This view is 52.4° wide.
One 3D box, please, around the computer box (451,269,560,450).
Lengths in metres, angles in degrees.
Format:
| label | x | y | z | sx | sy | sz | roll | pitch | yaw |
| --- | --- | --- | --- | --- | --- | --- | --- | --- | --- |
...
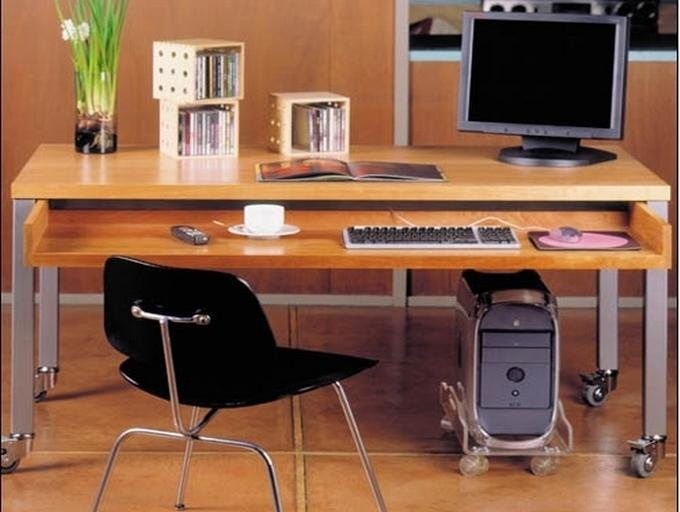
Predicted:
| label | x | y | z | sx | sy | sz | roll | pitch | yaw |
| --- | --- | --- | --- | --- | --- | --- | --- | --- | --- |
| computer box | 0.575 | 0.360 | 2.519 | 0.394 | 0.571 | 0.415 | 0 | 18 | 5 |

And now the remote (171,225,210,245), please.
| label | x | y | z | sx | sy | sz | roll | pitch | yaw |
| --- | --- | --- | --- | --- | --- | --- | --- | --- | --- |
| remote | -0.503 | -0.084 | 2.312 | 0.061 | 0.033 | 0.141 | -11 | 22 | -33 |

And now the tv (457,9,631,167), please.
| label | x | y | z | sx | sy | sz | roll | pitch | yaw |
| --- | --- | --- | --- | --- | --- | --- | --- | --- | --- |
| tv | 0.820 | -0.683 | 2.727 | 0.661 | 0.547 | 0.408 | 12 | 30 | 32 |

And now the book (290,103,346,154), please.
| label | x | y | z | sx | sy | sz | roll | pitch | yaw |
| --- | --- | --- | --- | --- | --- | --- | --- | --- | --- |
| book | -0.076 | -0.538 | 2.922 | 0.248 | 0.218 | 0.058 | 2 | 15 | 10 |

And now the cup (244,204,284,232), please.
| label | x | y | z | sx | sy | sz | roll | pitch | yaw |
| --- | --- | --- | --- | --- | --- | --- | --- | --- | --- |
| cup | -0.253 | -0.129 | 2.316 | 0.108 | 0.066 | 0.100 | 0 | 17 | 0 |

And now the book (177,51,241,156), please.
| label | x | y | z | sx | sy | sz | roll | pitch | yaw |
| --- | --- | --- | --- | --- | --- | --- | --- | --- | --- |
| book | -0.532 | -0.643 | 2.846 | 0.284 | 0.428 | 0.304 | -4 | 18 | -7 |
